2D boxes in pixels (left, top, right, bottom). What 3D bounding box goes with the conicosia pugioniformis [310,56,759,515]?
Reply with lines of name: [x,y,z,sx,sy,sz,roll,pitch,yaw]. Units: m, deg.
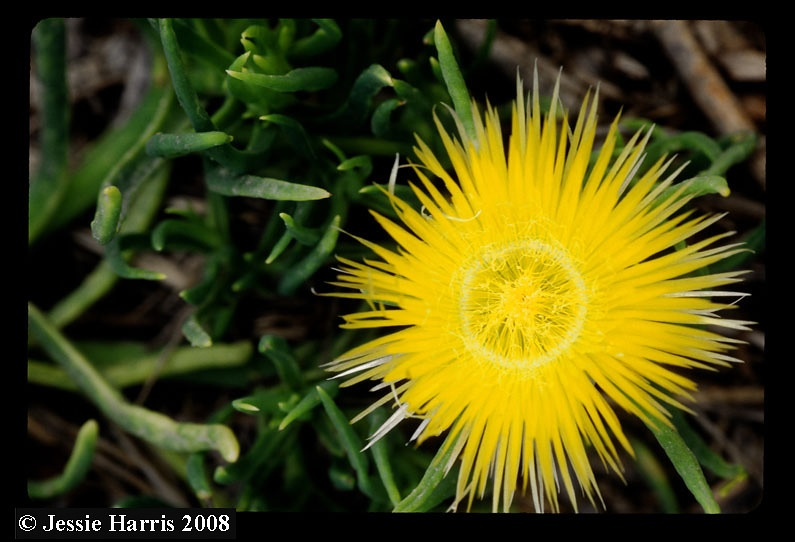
conicosia pugioniformis: [0.233,0.018,1.430,0.651,0.524,0.762,-1,106,5]
